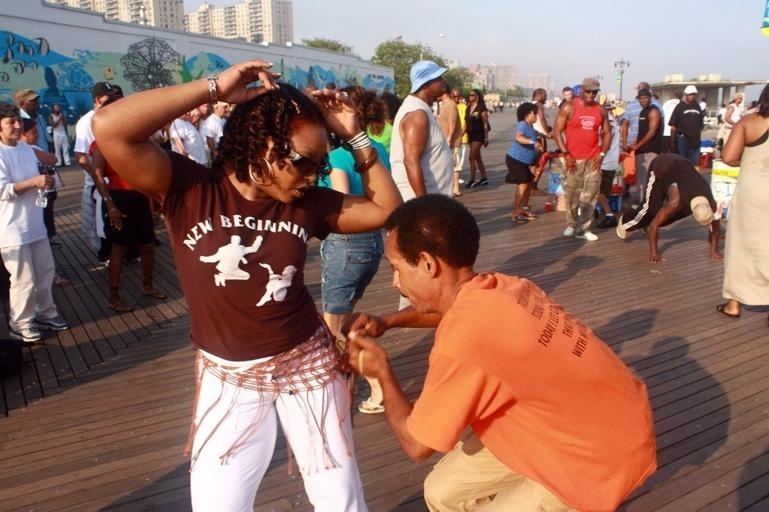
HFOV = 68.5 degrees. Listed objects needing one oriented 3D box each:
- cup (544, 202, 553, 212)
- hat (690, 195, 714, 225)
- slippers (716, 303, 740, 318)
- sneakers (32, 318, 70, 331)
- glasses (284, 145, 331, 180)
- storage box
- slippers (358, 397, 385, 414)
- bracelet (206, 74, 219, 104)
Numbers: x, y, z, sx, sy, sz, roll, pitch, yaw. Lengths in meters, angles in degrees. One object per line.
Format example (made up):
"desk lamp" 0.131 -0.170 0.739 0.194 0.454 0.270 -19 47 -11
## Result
"cup" 3.326 -0.998 11.464 0.169 0.180 0.177 -1 3 0
"hat" 4.251 -0.587 7.582 0.251 0.402 0.237 -27 2 23
"slippers" 3.825 0.604 6.315 0.131 0.086 0.250 -10 18 3
"sneakers" -3.633 0.742 6.203 0.330 0.180 0.144 -1 11 -9
"glasses" -0.400 -0.475 2.865 0.142 0.044 0.142 44 20 14
"storage box" 3.822 -1.543 10.936 1.247 1.155 1.486 1 10 26
"slippers" -0.100 1.272 4.843 0.260 0.132 0.127 6 9 5
"bracelet" -0.835 -0.814 2.760 0.048 0.123 0.046 -7 22 -18
